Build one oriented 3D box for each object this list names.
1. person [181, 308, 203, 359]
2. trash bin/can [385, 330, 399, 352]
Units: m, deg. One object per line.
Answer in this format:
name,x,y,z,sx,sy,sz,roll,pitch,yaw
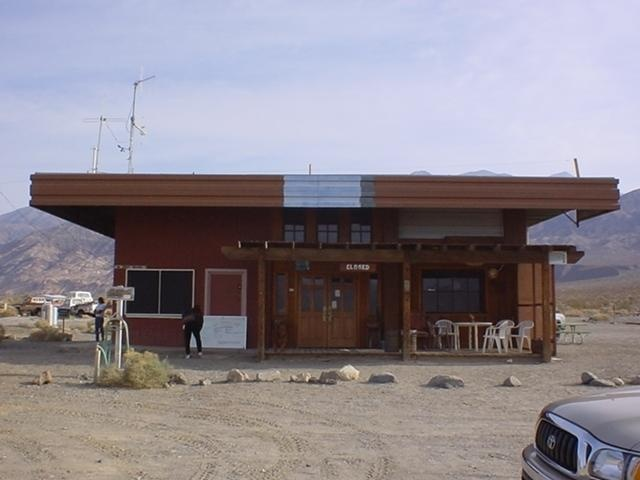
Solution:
person,-3.832,2.739,24.817,0.578,1.562,1.649,0,-8,-8
trash bin/can,2.205,3.047,24.946,0.544,0.752,0.542,1,-8,-2
